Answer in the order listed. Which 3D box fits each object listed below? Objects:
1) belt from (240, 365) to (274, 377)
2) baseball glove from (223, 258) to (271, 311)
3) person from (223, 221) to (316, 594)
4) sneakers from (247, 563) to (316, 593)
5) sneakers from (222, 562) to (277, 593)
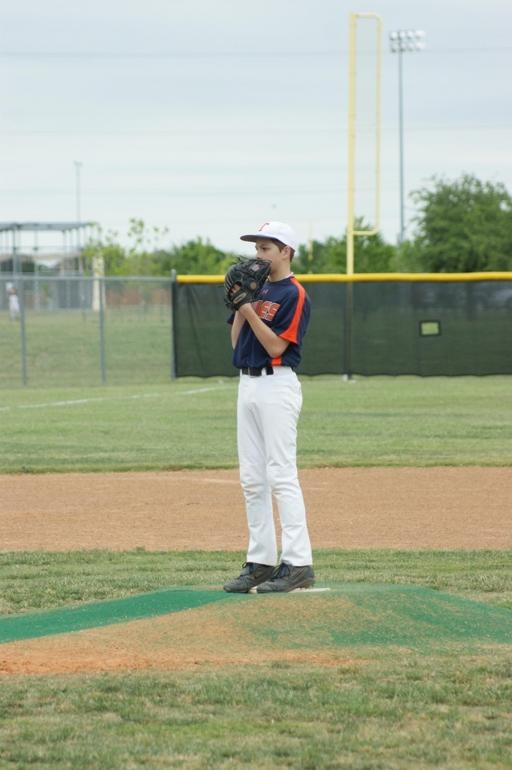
[{"bbox_3d":[-0.014,-0.064,7.252,0.177,0.051,0.036,4,6,39],"label":"belt"},{"bbox_3d":[-0.058,-0.414,7.268,0.151,0.235,0.101,-12,-23,39],"label":"baseball glove"},{"bbox_3d":[0.047,0.095,7.361,0.386,1.584,0.383,2,5,20],"label":"person"},{"bbox_3d":[0.096,0.808,7.305,0.256,0.167,0.104,-1,1,-8],"label":"sneakers"},{"bbox_3d":[-0.036,0.831,7.457,0.261,0.145,0.095,-10,5,-28],"label":"sneakers"}]
